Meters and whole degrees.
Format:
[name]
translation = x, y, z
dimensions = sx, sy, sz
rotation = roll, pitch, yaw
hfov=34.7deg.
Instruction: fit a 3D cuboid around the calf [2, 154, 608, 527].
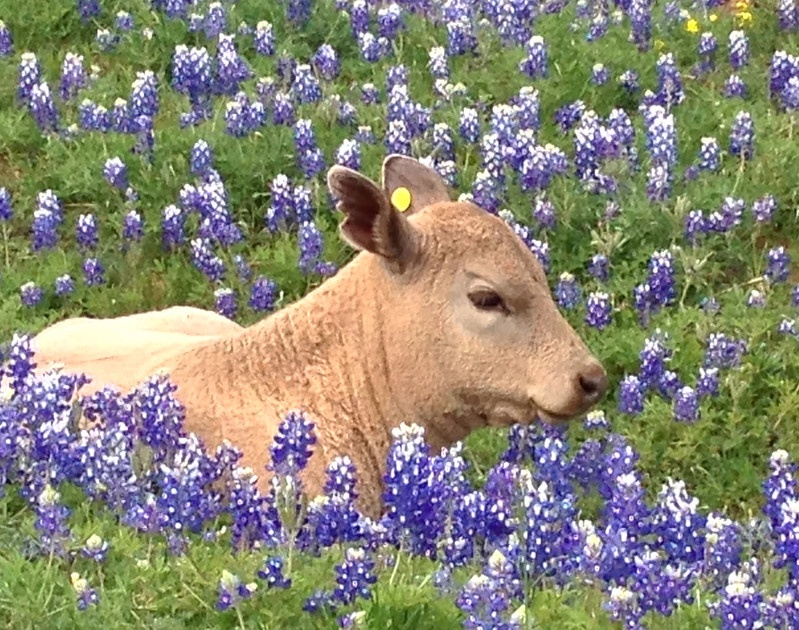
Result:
[calf]
translation = -0.214, 0.047, 5.648
dimensions = 2.254, 1.309, 0.971
rotation = -1, 41, -1
